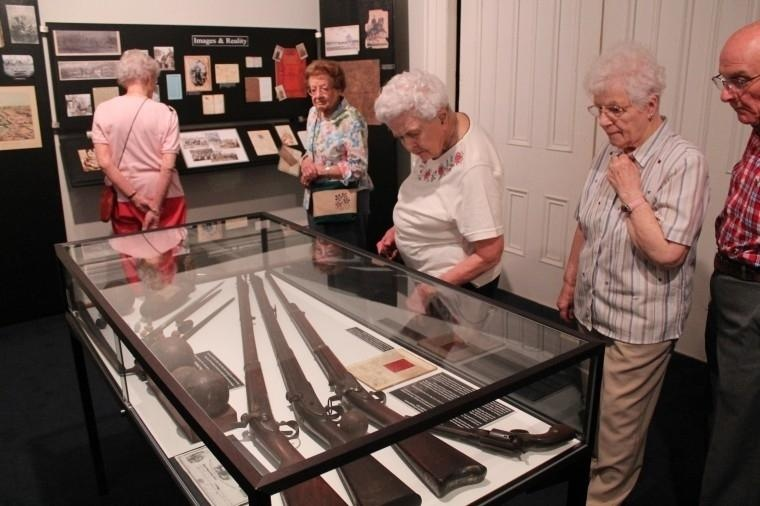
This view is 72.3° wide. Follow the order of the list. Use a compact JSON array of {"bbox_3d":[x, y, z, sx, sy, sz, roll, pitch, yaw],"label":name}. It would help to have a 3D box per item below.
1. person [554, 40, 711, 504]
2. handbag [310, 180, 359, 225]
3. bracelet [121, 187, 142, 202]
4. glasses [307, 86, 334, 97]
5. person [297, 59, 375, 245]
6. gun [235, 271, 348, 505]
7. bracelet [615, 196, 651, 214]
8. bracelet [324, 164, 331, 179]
[{"bbox_3d":[1.031,0.182,2.288,0.537,2.054,0.438,15,27,42],"label":"person"},{"bbox_3d":[-0.282,-0.381,3.695,0.467,0.401,0.252,-1,12,-5],"label":"handbag"},{"bbox_3d":[-1.761,-0.411,3.665,0.109,0.042,0.097,-12,42,58],"label":"bracelet"},{"bbox_3d":[-0.416,-1.091,3.515,0.193,0.070,0.084,11,24,35],"label":"glasses"},{"bbox_3d":[-0.327,-0.670,3.653,0.484,1.290,0.424,-6,20,-8],"label":"person"},{"bbox_3d":[-0.283,0.439,1.532,0.176,0.112,1.010,-41,37,17],"label":"gun"},{"bbox_3d":[1.011,-0.201,2.111,0.079,0.057,0.033,-32,55,12],"label":"bracelet"},{"bbox_3d":[-0.355,-0.549,3.517,0.062,0.060,0.015,21,-4,13],"label":"bracelet"}]
